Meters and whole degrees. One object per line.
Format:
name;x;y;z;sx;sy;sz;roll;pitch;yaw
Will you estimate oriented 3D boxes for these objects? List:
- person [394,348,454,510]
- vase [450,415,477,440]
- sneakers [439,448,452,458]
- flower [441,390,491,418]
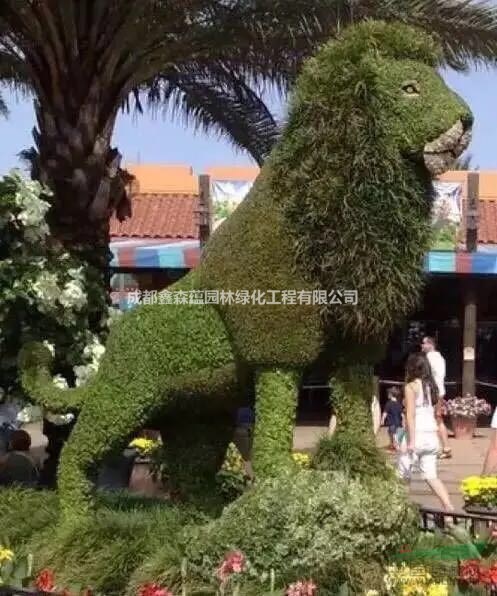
person;1.454;1.098;5.692;0.426;1.252;0.424;1;3;12
vase;3.155;1.921;10.175;0.323;0.267;0.340;4;-9;-18
sneakers;2.444;1.921;8.521;0.111;0.141;0.338;-12;-19;16
flower;3.189;1.605;10.170;0.476;0.278;0.483;-1;0;29
